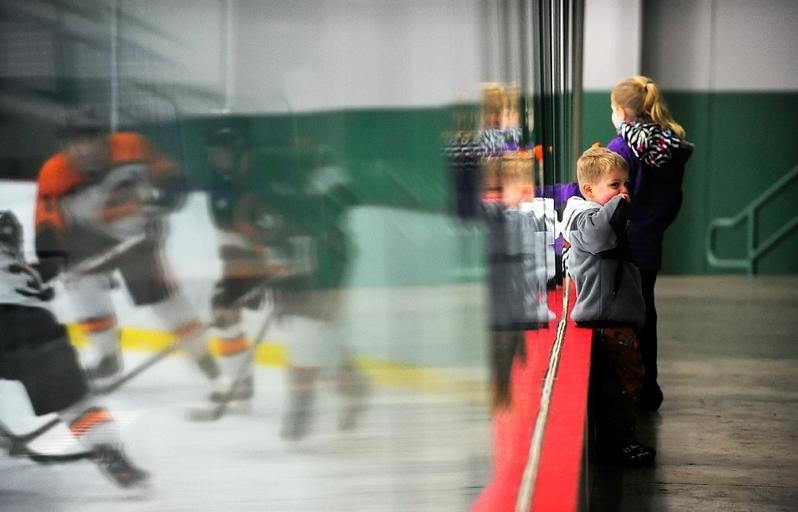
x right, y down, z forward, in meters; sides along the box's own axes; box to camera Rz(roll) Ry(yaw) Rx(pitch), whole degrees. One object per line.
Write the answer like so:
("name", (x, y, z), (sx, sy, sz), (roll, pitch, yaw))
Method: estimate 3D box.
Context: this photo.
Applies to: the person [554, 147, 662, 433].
("person", (0.543, 0.085, 2.071), (0.214, 0.739, 0.339), (-2, 8, 10))
